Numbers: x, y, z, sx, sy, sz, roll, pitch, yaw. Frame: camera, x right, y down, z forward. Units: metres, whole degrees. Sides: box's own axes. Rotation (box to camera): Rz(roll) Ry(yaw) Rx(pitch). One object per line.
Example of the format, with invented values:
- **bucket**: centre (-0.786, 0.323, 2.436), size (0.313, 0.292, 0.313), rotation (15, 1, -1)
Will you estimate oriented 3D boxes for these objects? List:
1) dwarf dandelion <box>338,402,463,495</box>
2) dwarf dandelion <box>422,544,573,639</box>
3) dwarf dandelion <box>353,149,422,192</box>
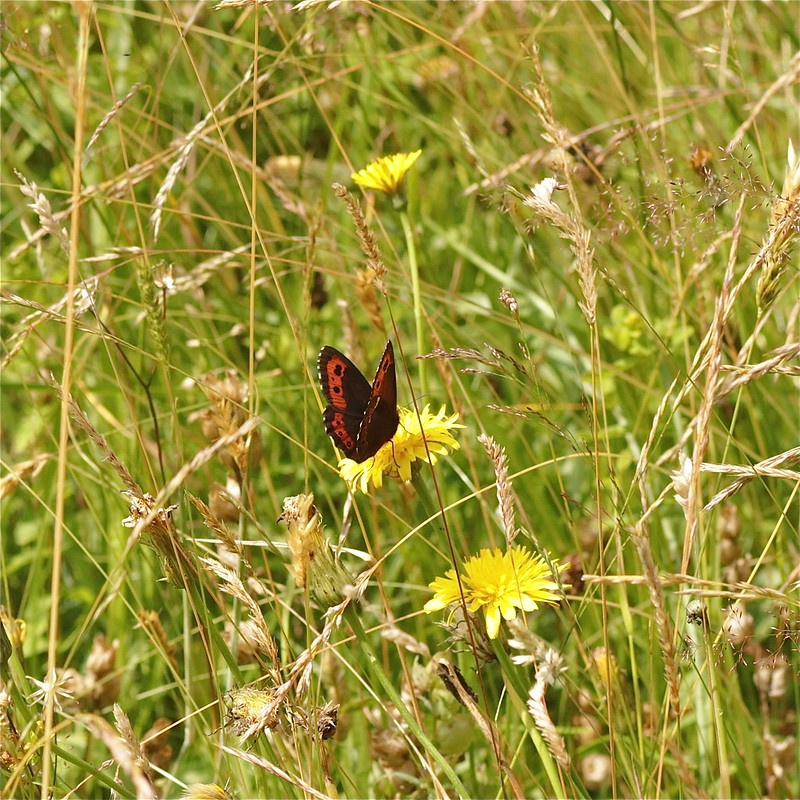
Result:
- **dwarf dandelion**: centre (0.022, 0.091, 1.542), size (0.129, 0.132, 0.064), rotation (1, 104, -39)
- **dwarf dandelion**: centre (0.147, 0.298, 1.408), size (0.141, 0.178, 0.148), rotation (0, 93, -8)
- **dwarf dandelion**: centre (-0.028, -0.461, 1.832), size (0.098, 0.105, 0.060), rotation (-34, 90, 21)
